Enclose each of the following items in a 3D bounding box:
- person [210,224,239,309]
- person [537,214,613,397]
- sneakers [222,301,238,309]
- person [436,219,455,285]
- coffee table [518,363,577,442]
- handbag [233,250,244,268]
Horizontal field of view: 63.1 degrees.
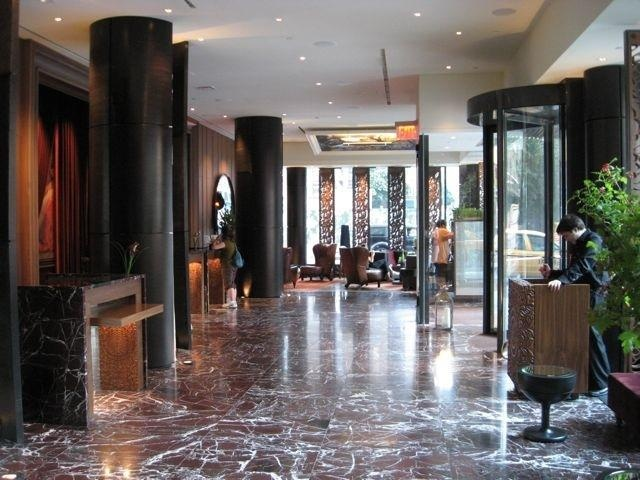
[{"bbox_3d":[-2.202,0.602,11.846,0.557,1.841,0.974,-2,3,-14],"label":"person"},{"bbox_3d":[2.880,0.693,5.898,0.661,1.879,0.674,1,-6,11],"label":"person"},{"bbox_3d":[-2.083,1.466,11.797,0.345,0.152,0.144,2,0,5],"label":"sneakers"},{"bbox_3d":[2.114,0.242,9.010,0.327,1.159,0.247,0,3,19],"label":"person"},{"bbox_3d":[2.063,1.525,4.986,0.607,0.727,0.639,0,0,0],"label":"coffee table"},{"bbox_3d":[-1.874,0.430,11.607,0.202,0.448,0.373,-1,3,-6],"label":"handbag"}]
